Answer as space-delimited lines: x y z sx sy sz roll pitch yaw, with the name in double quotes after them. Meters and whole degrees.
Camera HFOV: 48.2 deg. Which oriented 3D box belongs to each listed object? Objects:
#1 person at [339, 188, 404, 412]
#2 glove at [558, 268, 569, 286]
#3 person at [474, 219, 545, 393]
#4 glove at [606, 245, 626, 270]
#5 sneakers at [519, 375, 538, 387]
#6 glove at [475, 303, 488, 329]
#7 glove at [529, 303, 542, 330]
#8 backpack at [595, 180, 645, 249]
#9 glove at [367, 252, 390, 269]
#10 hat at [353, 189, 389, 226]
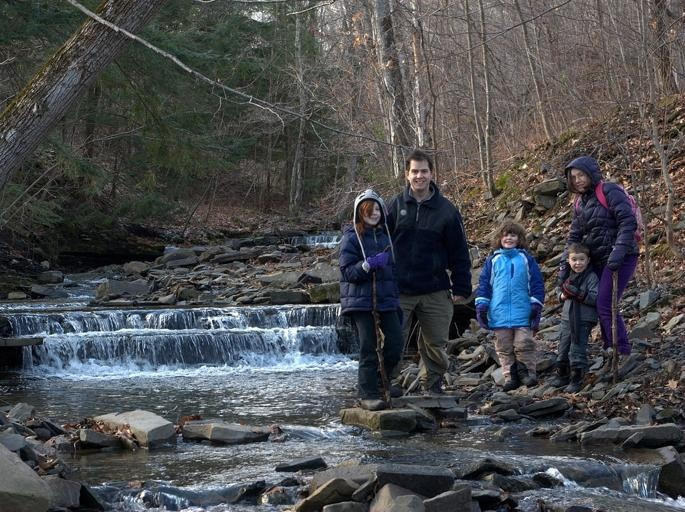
0.301 0.520 8.579 0.676 2.509 0.588 -1 10 -1 "person"
2.629 0.264 9.267 0.078 0.186 0.143 36 0 -4 "glove"
2.084 0.646 9.666 0.763 2.096 0.484 3 11 24 "person"
3.108 0.025 8.781 0.198 0.283 0.091 10 -22 33 "glove"
2.321 1.587 9.596 0.158 0.120 0.160 -3 9 -11 "sneakers"
1.735 0.769 9.773 0.255 0.272 0.120 -2 1 -20 "glove"
2.378 0.761 9.536 0.121 0.274 0.222 11 -19 15 "glove"
3.432 -0.522 9.254 0.516 0.776 0.927 7 12 41 "backpack"
0.412 0.055 8.383 0.162 0.179 0.353 7 11 41 "glove"
0.284 -0.559 8.649 0.392 0.435 0.442 1 2 -4 "hat"
